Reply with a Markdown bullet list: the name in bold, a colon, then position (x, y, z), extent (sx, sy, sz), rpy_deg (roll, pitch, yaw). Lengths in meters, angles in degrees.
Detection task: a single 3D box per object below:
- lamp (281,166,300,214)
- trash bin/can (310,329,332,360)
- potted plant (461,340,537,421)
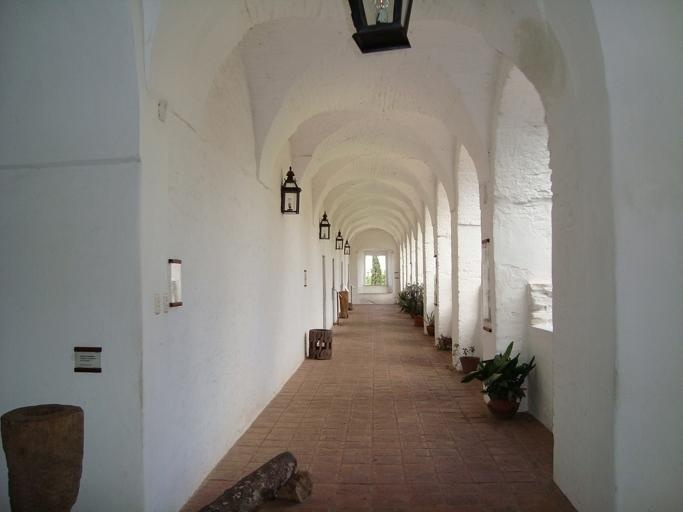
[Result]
- **lamp**: position (-0.829, -1.026, 8.081), extent (0.287, 0.690, 0.915), rpy_deg (0, 0, -6)
- **trash bin/can**: position (-0.459, 1.881, 10.579), extent (0.474, 0.704, 0.530), rpy_deg (-1, -5, 9)
- **potted plant**: position (2.093, 1.625, 6.573), extent (0.895, 0.926, 0.500), rpy_deg (0, 1, 2)
